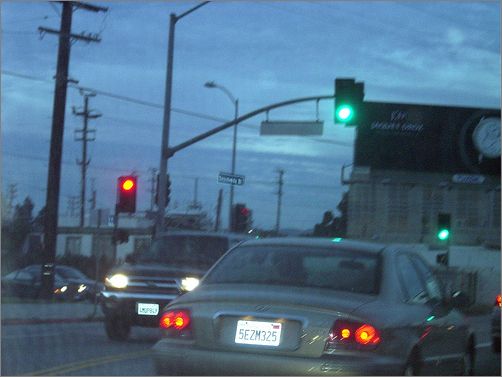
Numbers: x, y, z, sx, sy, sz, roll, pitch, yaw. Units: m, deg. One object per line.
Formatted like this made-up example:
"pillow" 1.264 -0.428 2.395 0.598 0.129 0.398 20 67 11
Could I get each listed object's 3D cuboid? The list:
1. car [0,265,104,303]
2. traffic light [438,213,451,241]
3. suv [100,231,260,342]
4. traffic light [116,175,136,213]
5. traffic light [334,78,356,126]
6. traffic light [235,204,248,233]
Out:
"car" -7.232 3.380 32.767 3.387 1.027 2.402 -5 -2 -6
"traffic light" 6.082 1.221 29.114 0.468 0.802 0.496 -8 -2 9
"suv" -1.708 2.112 22.191 1.999 1.468 3.719 -1 -4 17
"traffic light" -3.736 0.185 27.110 0.660 0.892 0.381 -7 -2 -11
"traffic light" 2.520 -2.330 24.999 0.686 1.128 0.261 -7 -2 5
"traffic light" -0.406 1.028 31.502 0.629 0.848 0.680 -7 -2 -2
